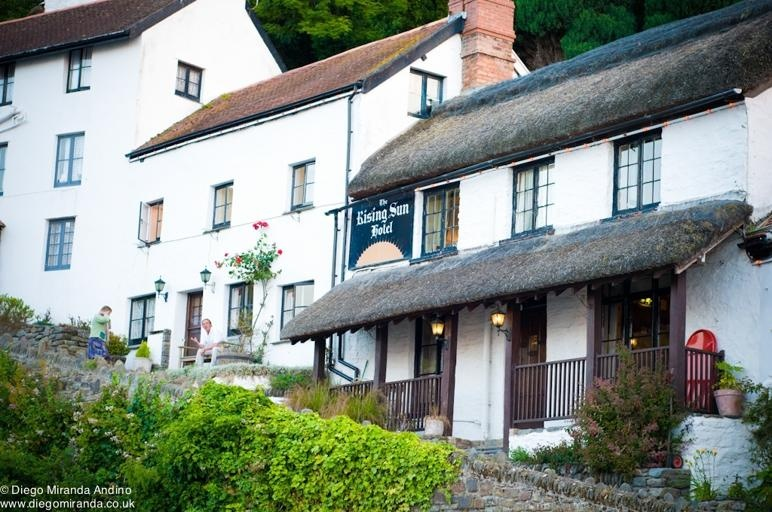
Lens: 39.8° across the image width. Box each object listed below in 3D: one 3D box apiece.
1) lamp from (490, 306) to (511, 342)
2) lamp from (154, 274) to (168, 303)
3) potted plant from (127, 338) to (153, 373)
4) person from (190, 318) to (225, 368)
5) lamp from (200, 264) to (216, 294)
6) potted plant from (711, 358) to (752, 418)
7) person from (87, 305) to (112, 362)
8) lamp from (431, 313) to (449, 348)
[{"bbox_3d":[2.887,1.620,26.898,0.571,0.927,0.377,2,-4,28],"label":"lamp"},{"bbox_3d":[-7.643,1.076,35.711,0.501,0.888,0.537,-8,-18,28],"label":"lamp"},{"bbox_3d":[-8.063,3.276,34.866,0.730,1.317,0.769,-4,-9,30],"label":"potted plant"},{"bbox_3d":[-5.491,2.729,33.046,0.844,1.500,1.328,3,-16,-10],"label":"person"},{"bbox_3d":[-5.807,0.757,34.453,0.461,0.891,0.452,10,-18,-30],"label":"lamp"},{"bbox_3d":[7.652,2.906,23.784,0.733,1.038,0.593,4,-5,-1],"label":"potted plant"},{"bbox_3d":[-9.040,2.486,33.568,0.592,1.978,0.833,-1,-29,-11],"label":"person"},{"bbox_3d":[1.371,1.980,28.018,0.440,0.789,0.584,0,-16,1],"label":"lamp"}]
